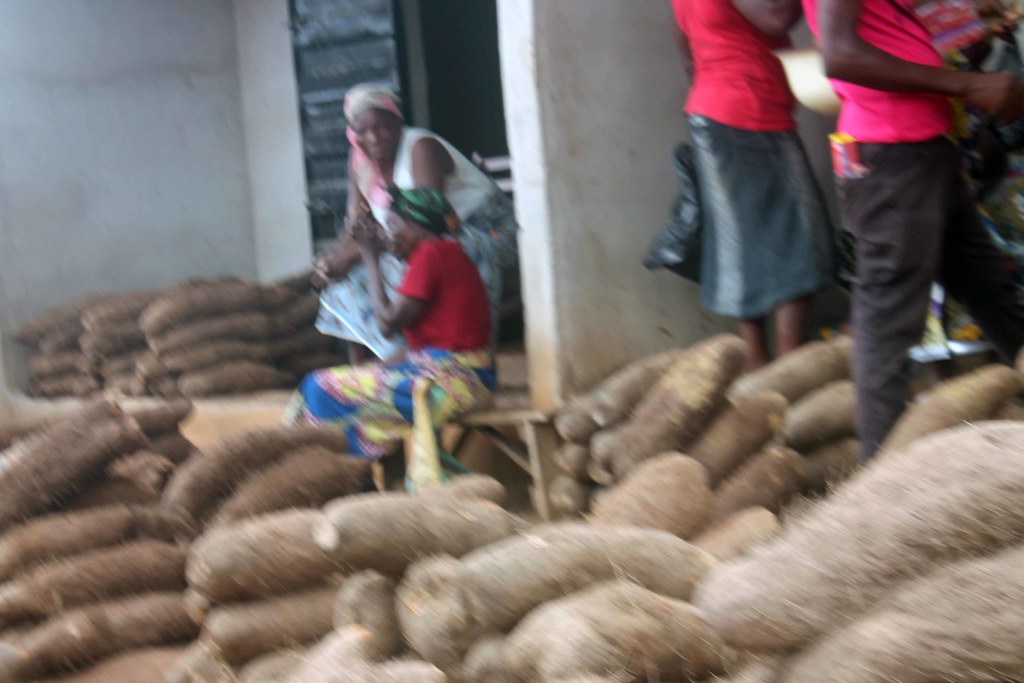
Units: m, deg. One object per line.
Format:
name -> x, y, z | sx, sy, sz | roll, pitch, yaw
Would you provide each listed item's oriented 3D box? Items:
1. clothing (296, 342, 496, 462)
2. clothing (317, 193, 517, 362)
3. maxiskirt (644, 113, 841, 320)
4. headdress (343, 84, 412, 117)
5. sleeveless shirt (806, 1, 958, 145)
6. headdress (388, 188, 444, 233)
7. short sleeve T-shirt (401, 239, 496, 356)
clothing -> -0.201, 0.084, 1.454 | 0.259, 0.110, 0.155 | -15, 13, -15
clothing -> -0.145, -0.120, 1.532 | 0.342, 0.231, 0.118 | -28, 11, 2
maxiskirt -> 0.366, -0.248, 1.569 | 0.284, 0.431, 0.352 | -23, 27, -36
headdress -> -0.223, -0.384, 1.376 | 0.055, 0.038, 0.067 | -8, 12, -2
sleeveless shirt -> 0.539, -0.390, 1.268 | 0.128, 0.232, 0.239 | -17, -1, 12
headdress -> -0.162, -0.218, 1.416 | 0.080, 0.039, 0.064 | 17, -13, 22
short sleeve T-shirt -> -0.091, -0.065, 1.492 | 0.141, 0.214, 0.256 | 3, 6, 31
